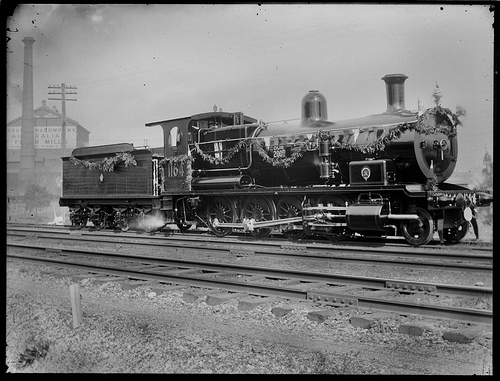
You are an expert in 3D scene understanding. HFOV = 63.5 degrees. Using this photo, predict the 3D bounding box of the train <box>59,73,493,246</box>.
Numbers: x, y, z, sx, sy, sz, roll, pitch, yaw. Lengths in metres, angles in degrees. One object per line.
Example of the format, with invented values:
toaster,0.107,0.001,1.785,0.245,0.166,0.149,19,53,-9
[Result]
train,-1.027,-0.359,16.170,18.087,6.522,5.570,-2,0,38
